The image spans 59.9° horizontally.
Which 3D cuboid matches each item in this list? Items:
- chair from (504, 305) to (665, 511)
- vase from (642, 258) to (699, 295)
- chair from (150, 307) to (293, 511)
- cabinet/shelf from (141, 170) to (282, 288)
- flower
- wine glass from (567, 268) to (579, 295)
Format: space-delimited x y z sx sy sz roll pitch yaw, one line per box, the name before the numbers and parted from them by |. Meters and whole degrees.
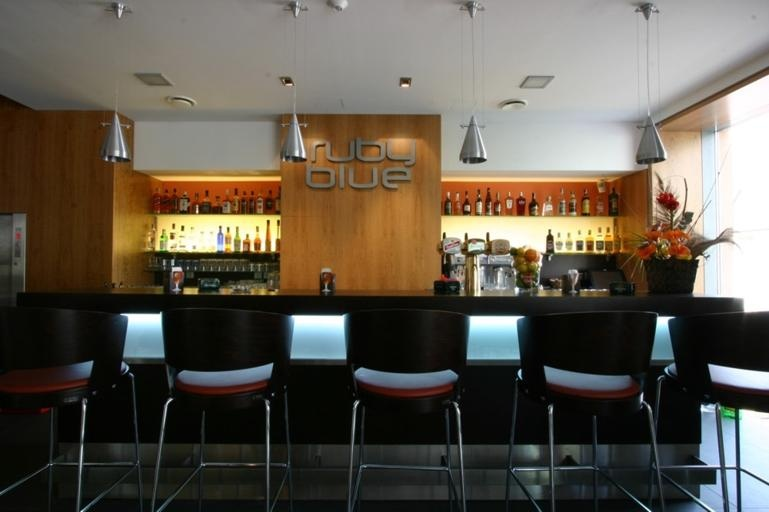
chair | 1.486 1.225 5.101 1.146 1.680 0.678 -1 3 11
vase | 2.469 0.178 5.763 0.325 0.225 0.343 -3 -8 39
chair | -1.170 1.210 5.130 1.060 1.710 0.628 -1 3 11
cabinet/shelf | -2.137 -0.299 8.318 1.368 1.288 0.455 1 -1 1
flower | 2.570 -0.239 5.943 0.975 0.804 0.640 -17 19 1
wine glass | 1.641 0.219 5.828 0.082 0.195 0.232 -1 3 16
